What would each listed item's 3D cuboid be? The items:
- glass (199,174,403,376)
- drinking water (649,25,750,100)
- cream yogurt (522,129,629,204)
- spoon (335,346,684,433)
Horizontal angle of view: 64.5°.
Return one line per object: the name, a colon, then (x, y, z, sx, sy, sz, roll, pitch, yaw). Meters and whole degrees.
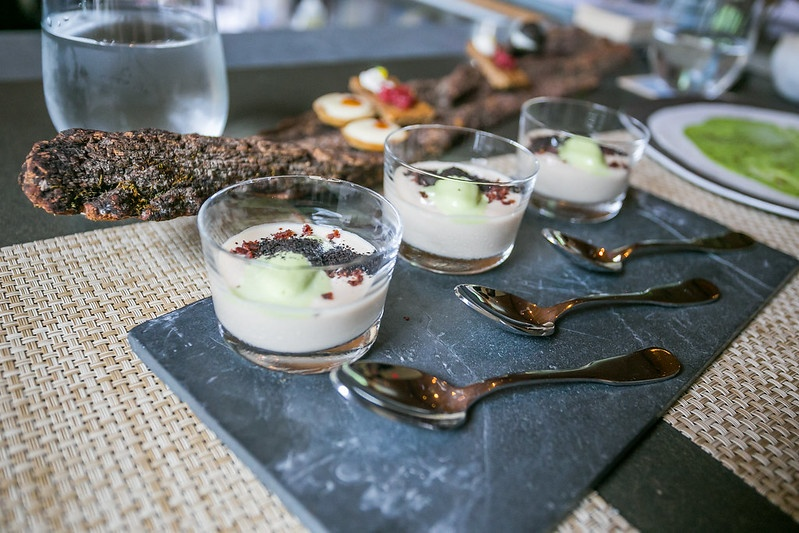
glass: (-0.170, -0.010, 1.055, 0.357, 0.214, 0.328, 0, 23, -14)
drinking water: (0.817, -0.563, 1.793, 0.248, 0.160, 0.234, 3, 25, 0)
cream yogurt: (0.374, -0.205, 1.374, 0.190, 0.079, 0.179, 5, 26, -5)
spoon: (0.299, 0.168, 1.066, 0.785, 0.095, 0.168, 1, 27, -21)
